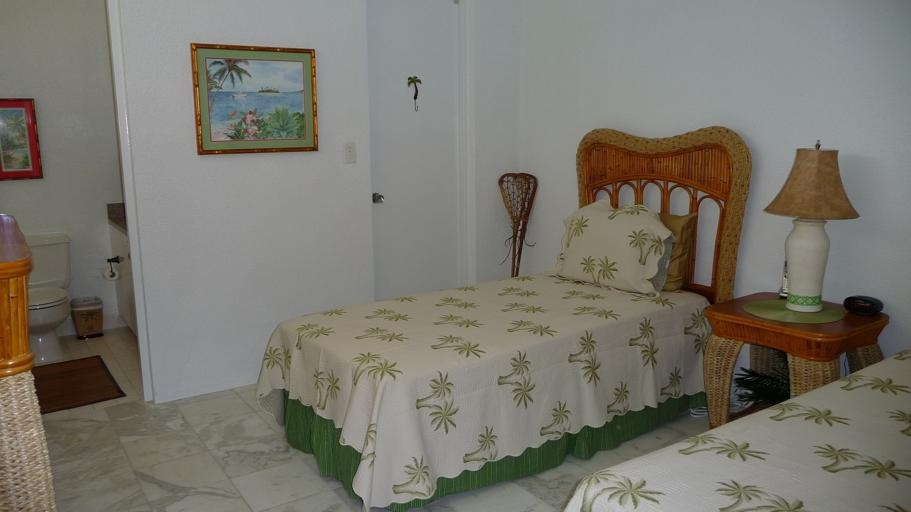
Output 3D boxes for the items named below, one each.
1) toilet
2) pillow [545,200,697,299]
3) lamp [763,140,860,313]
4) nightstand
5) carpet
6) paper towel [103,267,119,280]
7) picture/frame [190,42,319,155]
[{"bbox_3d":[-3.568,0.358,5.143,0.373,1.041,0.675,-8,14,-30],"label":"toilet"},{"bbox_3d":[1.182,-0.066,4.365,0.809,0.588,0.300,8,15,35],"label":"pillow"},{"bbox_3d":[2.231,-0.183,3.681,0.441,1.038,0.293,-3,13,-10],"label":"lamp"},{"bbox_3d":[2.266,0.797,3.928,1.045,0.946,1.047,3,13,22],"label":"nightstand"},{"bbox_3d":[-3.089,1.009,4.707,0.617,0.025,0.653,-1,28,-38],"label":"carpet"},{"bbox_3d":[-3.170,0.167,5.381,0.133,0.035,0.130,4,26,-4],"label":"paper towel"},{"bbox_3d":[-1.574,-1.208,4.438,0.902,0.734,0.060,-4,7,-26],"label":"picture/frame"}]
